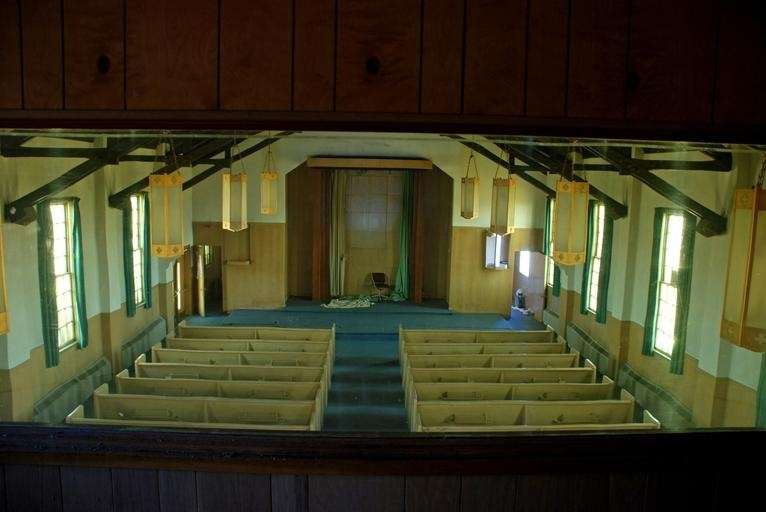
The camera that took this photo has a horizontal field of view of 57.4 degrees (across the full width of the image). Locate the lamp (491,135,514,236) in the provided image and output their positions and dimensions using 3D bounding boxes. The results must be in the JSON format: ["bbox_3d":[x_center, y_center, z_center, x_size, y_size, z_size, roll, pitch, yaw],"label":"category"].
[{"bbox_3d":[1.447,-0.787,8.379,0.247,1.030,0.291,4,4,24],"label":"lamp"}]

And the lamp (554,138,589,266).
[{"bbox_3d":[1.563,-0.295,5.860,0.280,0.912,0.459,-1,0,13],"label":"lamp"}]

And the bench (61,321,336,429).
[{"bbox_3d":[-1.842,1.481,8.561,2.441,1.113,4.980,-1,0,-5],"label":"bench"}]

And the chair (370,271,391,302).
[{"bbox_3d":[-0.037,0.723,17.118,0.591,0.857,0.612,-2,3,-18],"label":"chair"}]

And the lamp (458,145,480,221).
[{"bbox_3d":[1.380,-1.158,11.311,0.274,1.054,0.264,0,3,-38],"label":"lamp"}]
